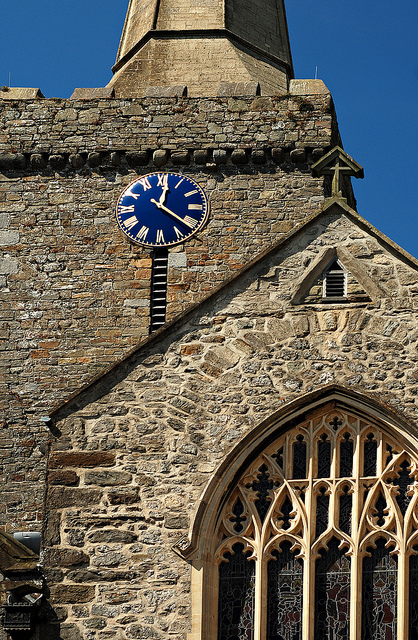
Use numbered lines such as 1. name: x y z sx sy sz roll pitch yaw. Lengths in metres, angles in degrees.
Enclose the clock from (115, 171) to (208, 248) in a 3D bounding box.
1. clock: -0.750 -1.726 28.164 1.359 1.329 0.066 3 -33 4
